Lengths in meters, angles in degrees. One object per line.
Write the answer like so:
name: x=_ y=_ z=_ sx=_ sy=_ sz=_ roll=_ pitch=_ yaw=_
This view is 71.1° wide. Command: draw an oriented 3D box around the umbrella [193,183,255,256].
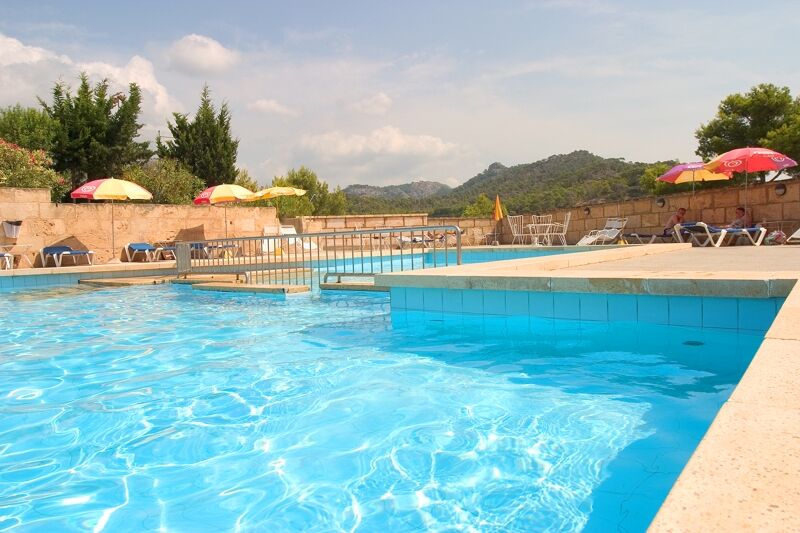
umbrella: x=-5.286 y=-1.606 z=16.871 sx=1.522 sy=1.717 sz=2.991 roll=-8 pitch=15 yaw=-20

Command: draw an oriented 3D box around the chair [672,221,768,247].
chair: x=7.561 y=-0.728 z=13.074 sx=1.908 sy=0.469 sz=1.041 roll=-5 pitch=7 yaw=-16

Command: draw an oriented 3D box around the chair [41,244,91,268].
chair: x=-8.481 y=-0.281 z=14.040 sx=0.678 sy=0.400 sz=0.991 roll=-2 pitch=1 yaw=-43

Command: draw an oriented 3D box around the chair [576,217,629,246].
chair: x=6.472 y=-1.047 z=17.474 sx=1.876 sy=1.102 sz=1.009 roll=-1 pitch=1 yaw=-24
